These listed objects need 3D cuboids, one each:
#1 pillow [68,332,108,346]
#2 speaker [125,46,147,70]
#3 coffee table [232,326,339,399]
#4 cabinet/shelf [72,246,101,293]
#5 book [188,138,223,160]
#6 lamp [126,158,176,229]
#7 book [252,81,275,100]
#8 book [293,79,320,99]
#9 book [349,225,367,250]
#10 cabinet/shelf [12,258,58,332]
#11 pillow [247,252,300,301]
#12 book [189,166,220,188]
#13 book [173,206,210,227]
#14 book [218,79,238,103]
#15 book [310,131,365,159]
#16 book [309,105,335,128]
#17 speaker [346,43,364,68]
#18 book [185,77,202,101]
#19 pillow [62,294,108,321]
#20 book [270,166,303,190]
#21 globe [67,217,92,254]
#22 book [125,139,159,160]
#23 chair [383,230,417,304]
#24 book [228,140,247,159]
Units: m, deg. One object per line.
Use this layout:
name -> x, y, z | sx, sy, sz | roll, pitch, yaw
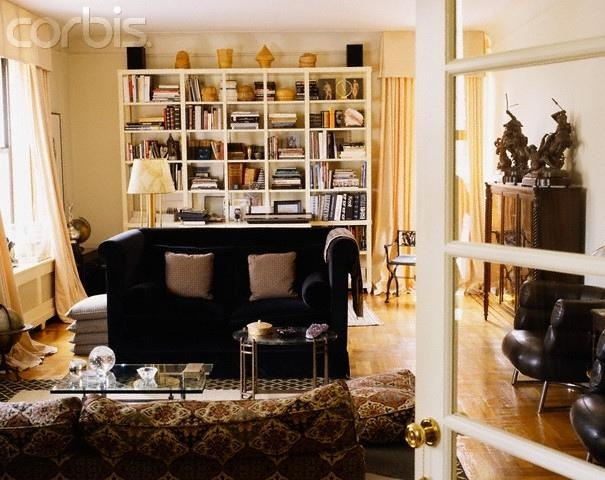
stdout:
pillow -> -1.744, 0.812, 4.534 | 0.192, 0.051, 0.167 | -2, 22, -3
speaker -> -1.959, -2.128, 6.384 | 0.199, 0.297, 0.175 | -2, -5, -15
coffee table -> -0.127, 0.758, 3.718 | 0.558, 0.390, 0.567 | 0, -3, -3
cabinet/shelf -> -2.336, 0.333, 5.867 | 0.264, 0.487, 0.499 | 1, 4, 7
book -> -1.161, -1.067, 6.461 | 0.420, 0.234, 0.288 | 2, -1, -10
lamp -> -1.483, -0.465, 5.208 | 0.397, 0.621, 0.509 | 0, -6, -32
book -> -0.453, -1.765, 6.397 | 0.267, 0.266, 0.198 | 0, 3, -1
book -> 0.049, -1.762, 6.415 | 0.294, 0.223, 0.271 | -1, 10, 2
book -> 0.676, -0.048, 6.690 | 0.241, 0.341, 0.323 | 0, 1, 3
cabinet/shelf -> -2.519, 0.506, 5.087 | 0.258, 0.578, 0.694 | 0, 2, 0
pillow -> -0.241, 0.301, 4.398 | 0.358, 0.355, 0.122 | 1, -19, -8
book -> -1.178, -0.741, 6.562 | 0.284, 0.195, 0.288 | 0, 5, -3
book -> -1.283, -0.266, 6.363 | 0.341, 0.228, 0.238 | -3, -5, -3
book -> -0.847, -1.733, 6.415 | 0.295, 0.289, 0.230 | 0, 5, -2
book -> 0.399, -1.097, 6.455 | 0.474, 0.211, 0.372 | 1, 6, -1
book -> 0.224, -1.453, 6.408 | 0.249, 0.244, 0.260 | 1, 12, -11
speaker -> 0.614, -2.155, 6.422 | 0.193, 0.332, 0.243 | -3, -5, 2
book -> -1.277, -1.774, 6.386 | 0.199, 0.276, 0.079 | 0, 5, -26
pillow -> -1.765, 0.484, 4.449 | 0.274, 0.092, 0.299 | -6, 11, -8
book -> -0.177, -0.773, 6.590 | 0.294, 0.185, 0.295 | 0, 8, 2
globe -> -2.524, -0.062, 6.163 | 0.334, 0.354, 0.354 | -1, 10, -28
book -> -1.829, -1.076, 6.555 | 0.489, 0.276, 0.493 | 0, 15, -7
chair -> 1.192, 0.285, 6.265 | 0.508, 0.779, 0.442 | 0, 6, 12
book -> -0.796, -1.065, 6.503 | 0.198, 0.207, 0.048 | 1, -18, -4
